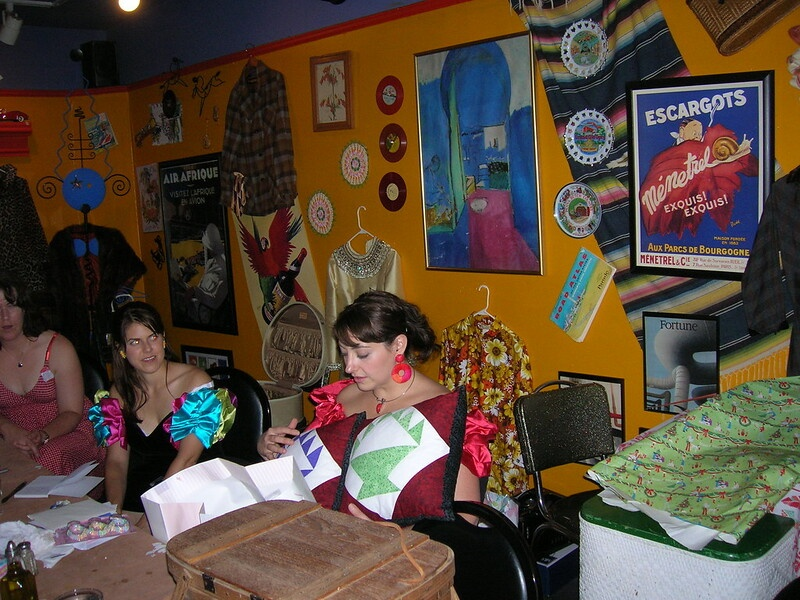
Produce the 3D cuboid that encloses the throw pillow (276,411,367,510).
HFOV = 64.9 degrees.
[{"bbox_3d":[-0.346,0.586,2.423,0.325,0.366,0.097,29,1,41],"label":"throw pillow"}]

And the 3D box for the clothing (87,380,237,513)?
[{"bbox_3d":[-1.186,0.699,2.963,0.545,0.576,0.248,1,-11,-21],"label":"clothing"}]

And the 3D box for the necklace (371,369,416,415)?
[{"bbox_3d":[-0.023,0.372,2.489,0.131,0.192,0.033,24,-3,40],"label":"necklace"}]

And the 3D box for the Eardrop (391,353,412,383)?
[{"bbox_3d":[0.001,0.271,2.466,0.097,0.153,0.029,-4,1,-14],"label":"Eardrop"}]

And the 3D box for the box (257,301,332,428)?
[{"bbox_3d":[-0.749,0.433,4.142,0.456,0.799,0.496,6,6,13],"label":"box"}]

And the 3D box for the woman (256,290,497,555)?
[{"bbox_3d":[-0.055,0.471,2.545,1.097,1.067,0.686,2,4,42],"label":"woman"}]

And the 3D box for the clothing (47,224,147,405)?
[{"bbox_3d":[-2.751,0.150,5.718,0.761,1.714,0.161,-10,34,-37],"label":"clothing"}]

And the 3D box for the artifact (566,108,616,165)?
[{"bbox_3d":[0.934,-0.807,3.144,0.226,0.255,0.058,1,4,36],"label":"artifact"}]

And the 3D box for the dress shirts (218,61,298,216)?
[{"bbox_3d":[-1.050,-1.162,4.587,0.707,1.081,0.153,0,4,35],"label":"dress shirts"}]
